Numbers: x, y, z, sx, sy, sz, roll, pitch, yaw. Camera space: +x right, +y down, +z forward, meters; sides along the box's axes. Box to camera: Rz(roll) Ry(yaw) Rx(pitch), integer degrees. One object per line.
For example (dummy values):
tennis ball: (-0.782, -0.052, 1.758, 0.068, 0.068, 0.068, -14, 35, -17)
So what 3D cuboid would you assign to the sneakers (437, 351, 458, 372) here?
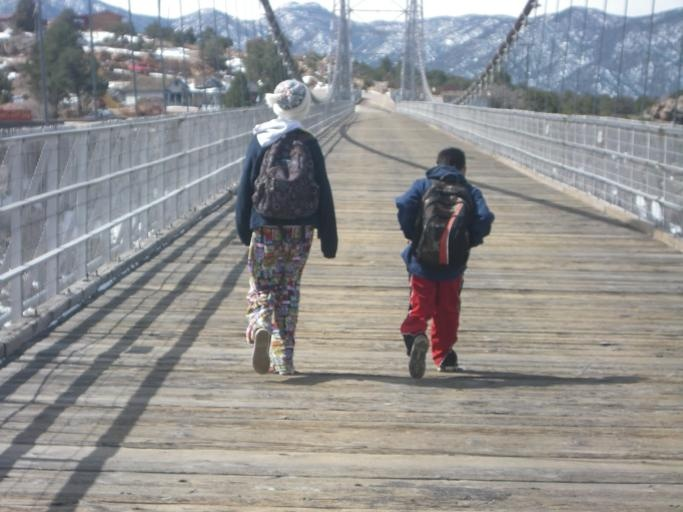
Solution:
sneakers: (0.819, 0.819, 8.438, 0.111, 0.114, 0.184, 2, 11, 6)

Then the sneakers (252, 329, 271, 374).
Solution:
sneakers: (-0.585, 0.714, 8.205, 0.121, 0.413, 0.214, 0, 15, -5)

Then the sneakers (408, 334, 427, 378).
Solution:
sneakers: (0.549, 0.745, 8.199, 0.133, 0.302, 0.141, 8, 1, -10)

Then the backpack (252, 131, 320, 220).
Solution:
backpack: (-0.408, -0.592, 8.174, 0.473, 0.654, 0.403, 0, 15, -6)

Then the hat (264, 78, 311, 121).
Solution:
hat: (-0.384, -1.210, 8.612, 0.398, 0.266, 0.272, -4, 2, -7)

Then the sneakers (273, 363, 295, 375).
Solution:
sneakers: (-0.424, 0.852, 8.303, 0.098, 0.049, 0.145, 1, 5, -2)

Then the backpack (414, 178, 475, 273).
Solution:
backpack: (0.768, -0.228, 8.225, 0.425, 0.678, 0.302, 3, 15, 6)
